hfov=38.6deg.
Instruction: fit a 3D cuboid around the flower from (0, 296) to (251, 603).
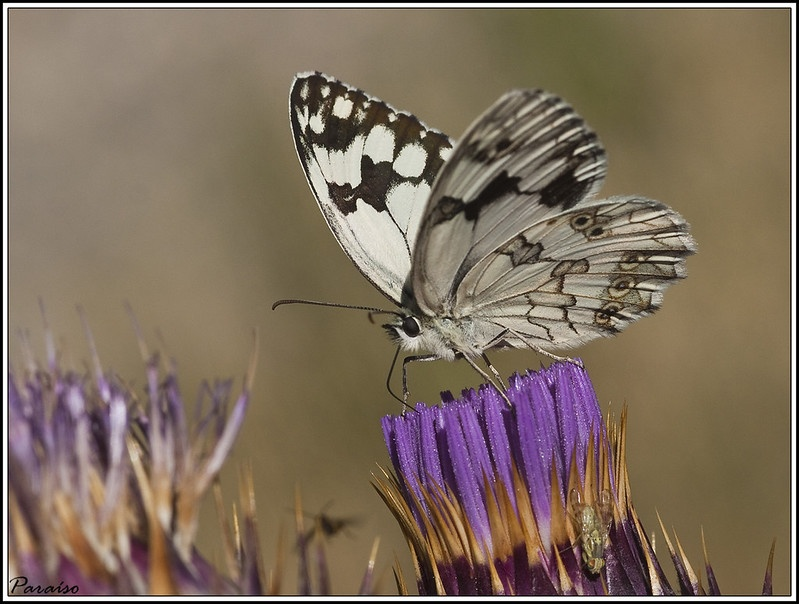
[{"bbox_3d":[-0.929,0.595,3.918,0.836,0.720,0.592,5,-61,-19],"label":"flower"}]
